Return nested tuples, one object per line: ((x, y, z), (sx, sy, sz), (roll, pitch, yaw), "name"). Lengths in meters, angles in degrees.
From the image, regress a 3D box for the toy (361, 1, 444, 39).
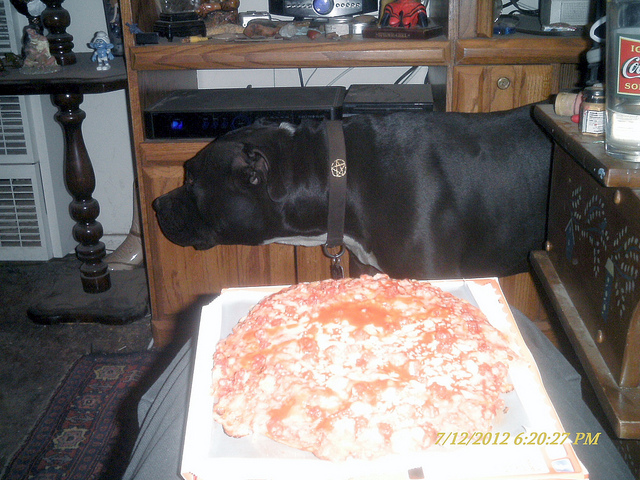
((0.314, -0.835, 2.020), (0.297, 0.129, 0.190), (4, 26, 16), "toy")

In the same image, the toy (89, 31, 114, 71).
((-0.926, -0.789, 2.239), (0.099, 0.155, 0.076), (-2, 3, 0), "toy")

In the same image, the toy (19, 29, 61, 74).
((-1.193, -0.804, 2.242), (0.156, 0.166, 0.156), (6, 42, -22), "toy")

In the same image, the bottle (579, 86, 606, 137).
((0.525, -0.240, 1.009), (0.056, 0.092, 0.057), (-3, 21, 1), "bottle")
